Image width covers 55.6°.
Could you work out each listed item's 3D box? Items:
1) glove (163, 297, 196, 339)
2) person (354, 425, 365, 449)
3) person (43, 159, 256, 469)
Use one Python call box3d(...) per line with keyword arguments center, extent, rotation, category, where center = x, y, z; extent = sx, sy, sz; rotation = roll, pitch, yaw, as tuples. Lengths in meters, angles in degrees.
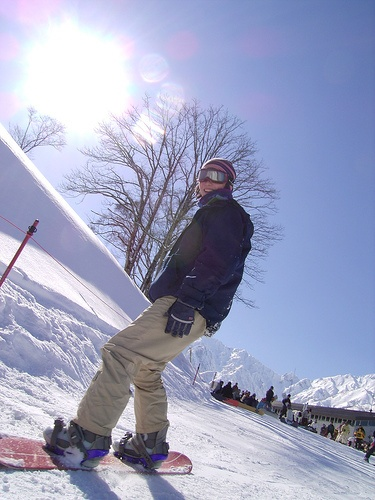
box3d(center=(-0.033, 0.330, 1.759), extent=(0.148, 0.187, 0.058), rotation=(26, -6, 8), category="glove")
box3d(center=(8.456, 9.113, 17.396), extent=(0.481, 1.056, 2.112), rotation=(17, -17, 32), category="person")
box3d(center=(-0.077, 0.380, 1.974), extent=(0.464, 1.153, 0.612), rotation=(21, -16, 21), category="person")
